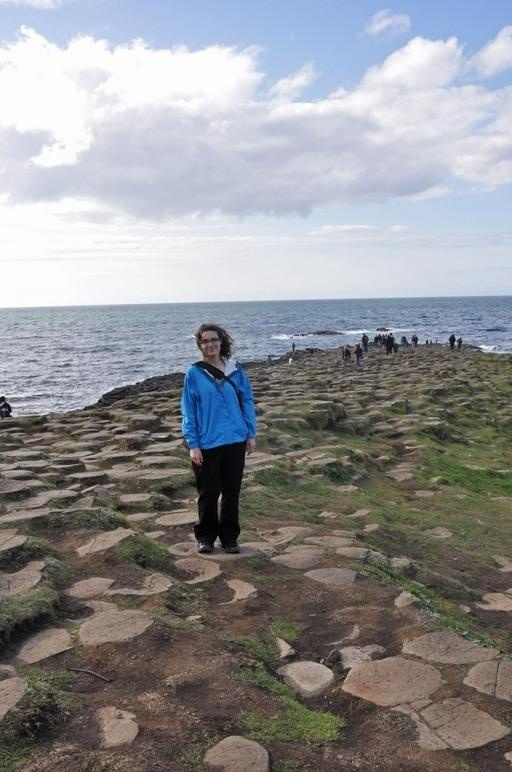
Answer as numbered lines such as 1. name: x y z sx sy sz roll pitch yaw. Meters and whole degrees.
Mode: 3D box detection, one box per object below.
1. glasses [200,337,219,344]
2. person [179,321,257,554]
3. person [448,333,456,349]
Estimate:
1. glasses: -0.331 -0.317 3.816 0.125 0.039 0.067 5 2 -5
2. person: -0.285 0.390 3.947 0.574 1.260 0.421 4 2 -30
3. person: 10.933 -2.352 29.635 0.242 0.802 0.945 6 2 24
